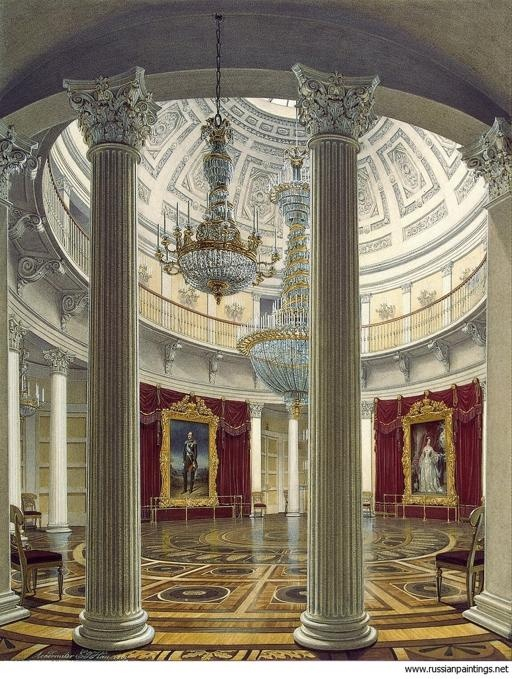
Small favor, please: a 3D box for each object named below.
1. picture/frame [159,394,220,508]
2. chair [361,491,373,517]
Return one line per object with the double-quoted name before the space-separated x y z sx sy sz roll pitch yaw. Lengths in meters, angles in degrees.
"picture/frame" -1.551 2.563 16.028 0.306 3.219 2.226 -9 -14 34
"chair" 2.544 3.797 16.508 0.239 0.548 1.033 -4 -11 8
